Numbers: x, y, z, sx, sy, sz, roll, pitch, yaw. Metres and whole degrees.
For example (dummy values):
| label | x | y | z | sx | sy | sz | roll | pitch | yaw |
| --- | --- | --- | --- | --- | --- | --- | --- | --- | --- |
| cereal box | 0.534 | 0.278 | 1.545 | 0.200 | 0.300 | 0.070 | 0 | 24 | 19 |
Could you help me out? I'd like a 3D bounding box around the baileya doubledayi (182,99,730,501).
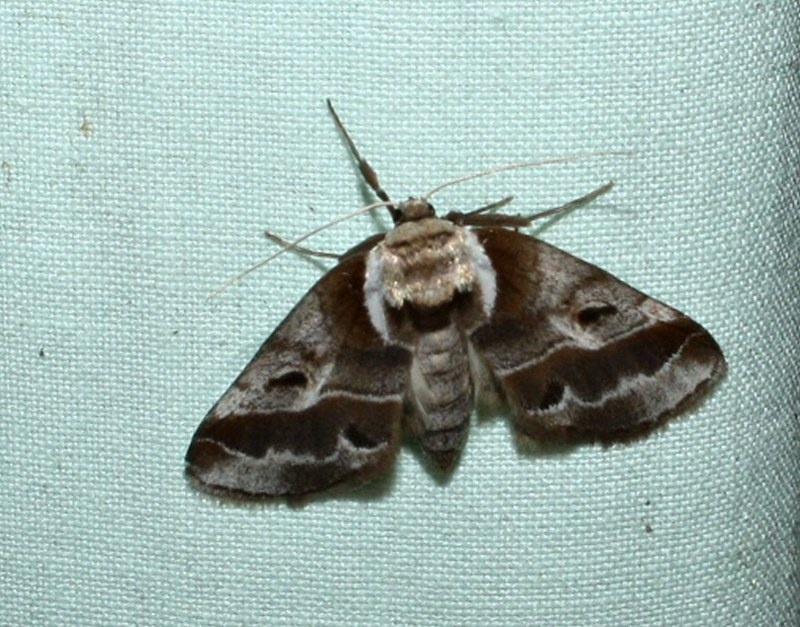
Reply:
| label | x | y | z | sx | sy | sz | roll | pitch | yaw |
| --- | --- | --- | --- | --- | --- | --- | --- | --- | --- |
| baileya doubledayi | 0.104 | 0.083 | 2.635 | 1.327 | 0.729 | 0.143 | -9 | 4 | 0 |
